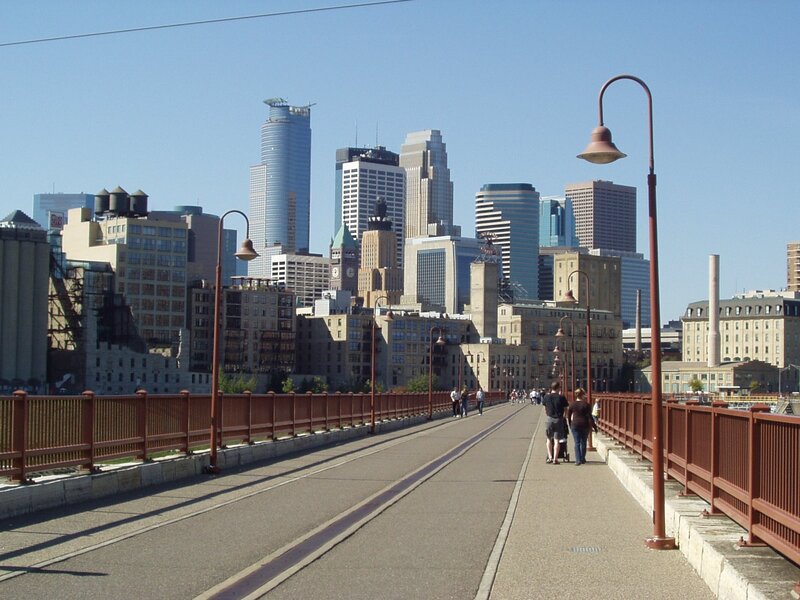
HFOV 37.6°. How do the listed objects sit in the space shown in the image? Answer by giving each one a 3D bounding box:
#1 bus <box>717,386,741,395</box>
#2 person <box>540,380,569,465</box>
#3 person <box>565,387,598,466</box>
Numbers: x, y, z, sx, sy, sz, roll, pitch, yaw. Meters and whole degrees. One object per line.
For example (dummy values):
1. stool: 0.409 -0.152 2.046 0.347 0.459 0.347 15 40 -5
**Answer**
1. bus: 55.139 15.155 195.582 2.880 1.077 11.962 -2 -3 20
2. person: 4.153 3.271 30.881 0.656 2.338 0.570 0 -2 5
3. person: 4.784 3.345 30.971 0.641 1.979 0.858 0 -2 19
